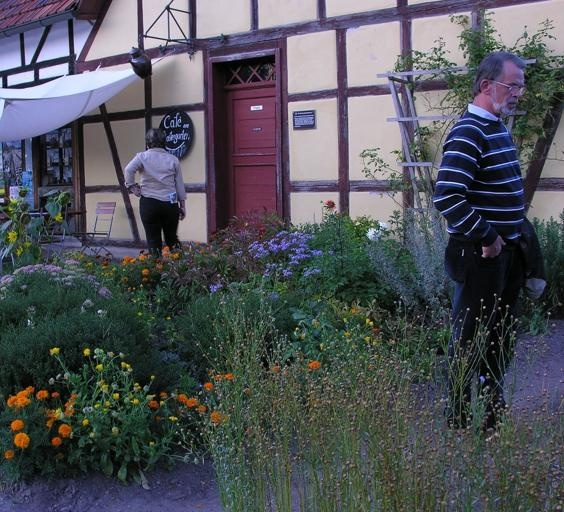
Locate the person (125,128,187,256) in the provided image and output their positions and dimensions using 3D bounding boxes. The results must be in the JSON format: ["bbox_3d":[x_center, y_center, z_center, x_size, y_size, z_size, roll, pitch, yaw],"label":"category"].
[{"bbox_3d":[-1.450,-0.765,6.618,0.692,1.463,0.640,-3,3,-25],"label":"person"}]

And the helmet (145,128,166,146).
[{"bbox_3d":[-1.480,-1.399,6.632,0.157,0.246,0.223,1,14,1],"label":"helmet"}]

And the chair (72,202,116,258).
[{"bbox_3d":[-3.336,-0.429,10.256,0.398,0.980,0.631,2,13,8],"label":"chair"}]

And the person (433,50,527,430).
[{"bbox_3d":[0.998,-0.058,2.846,0.676,1.957,0.385,-4,4,-39],"label":"person"}]
